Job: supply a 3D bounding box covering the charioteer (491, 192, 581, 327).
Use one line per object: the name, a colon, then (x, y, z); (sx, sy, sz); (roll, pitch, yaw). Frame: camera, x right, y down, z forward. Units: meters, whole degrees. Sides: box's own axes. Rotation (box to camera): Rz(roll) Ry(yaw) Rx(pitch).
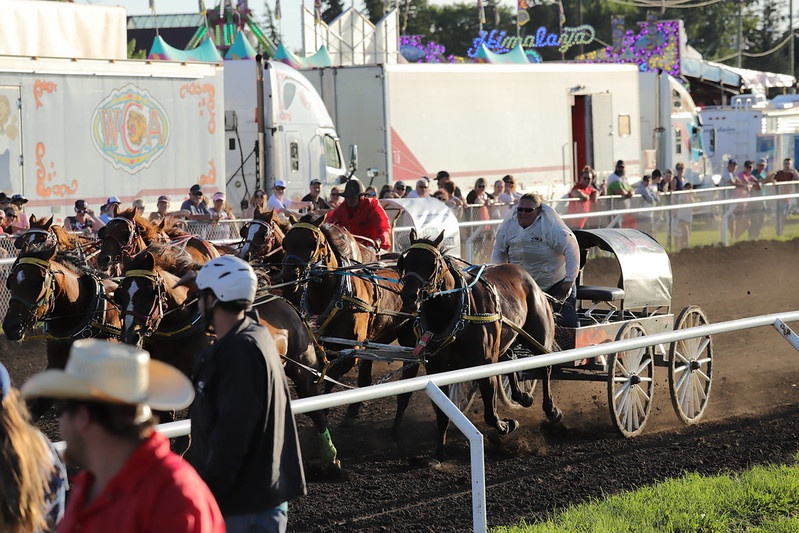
charioteer: (1.812, -0.196, 16.116); (0.789, 1.950, 0.894); (0, 0, 12)
